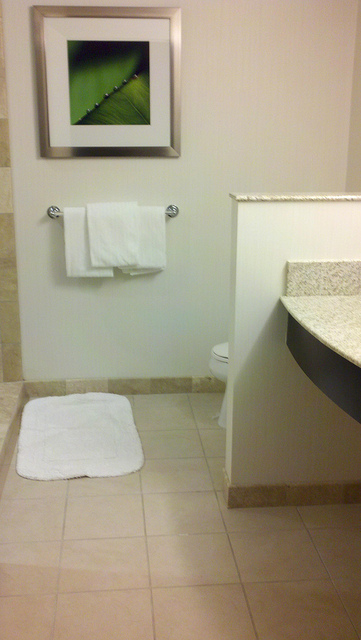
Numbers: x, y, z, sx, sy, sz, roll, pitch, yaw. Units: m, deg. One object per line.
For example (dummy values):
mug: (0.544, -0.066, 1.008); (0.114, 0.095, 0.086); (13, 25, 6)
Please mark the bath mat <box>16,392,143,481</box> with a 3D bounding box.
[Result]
bath mat: (-0.428, 0.467, 2.183); (0.479, 0.026, 0.806); (1, 13, -13)
